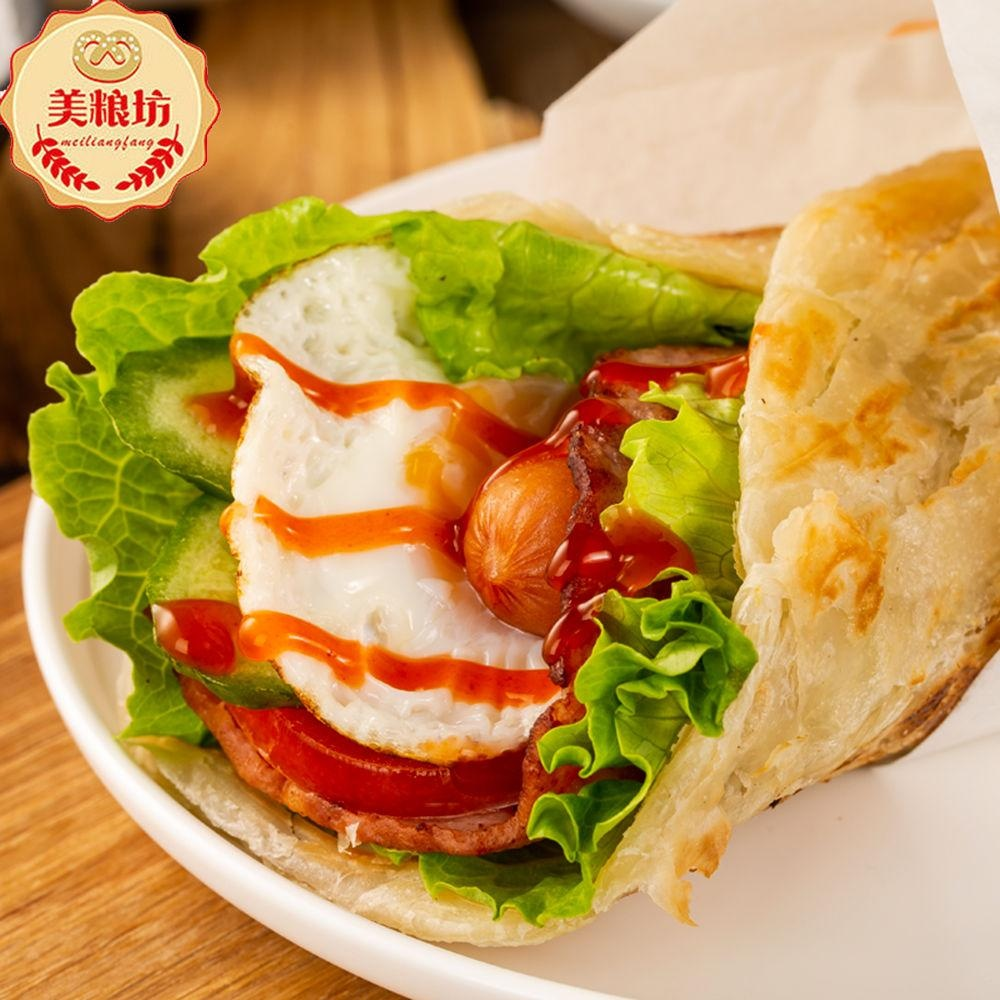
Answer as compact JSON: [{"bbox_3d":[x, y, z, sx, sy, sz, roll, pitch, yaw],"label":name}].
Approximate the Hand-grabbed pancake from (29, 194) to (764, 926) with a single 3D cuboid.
[{"bbox_3d":[-0.131,-0.030,1.684,1.544,0.790,0.860,-3,30,10],"label":"Hand-grabbed pancake"}]
